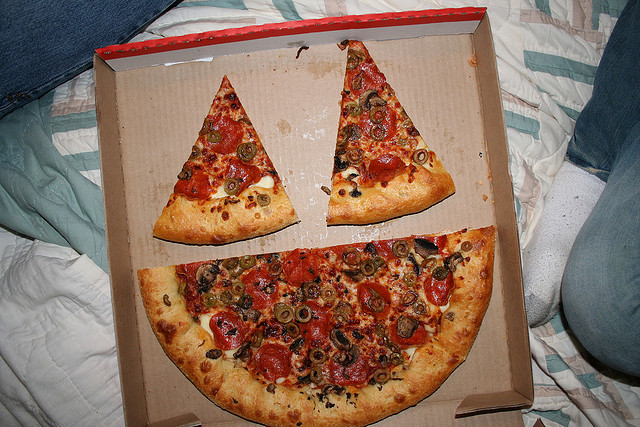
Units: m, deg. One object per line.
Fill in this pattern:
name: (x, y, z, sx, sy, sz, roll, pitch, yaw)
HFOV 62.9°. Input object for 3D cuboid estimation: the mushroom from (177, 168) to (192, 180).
mushroom: (-1.190, -0.351, 4.663, 0.096, 0.029, 0.106, 3, 80, 14)

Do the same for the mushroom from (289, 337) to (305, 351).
mushroom: (-0.194, 1.139, 4.576, 0.123, 0.037, 0.072, -25, 94, -6)

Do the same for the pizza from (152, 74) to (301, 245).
pizza: (-0.791, -0.422, 4.677, 1.196, 0.240, 1.455, -1, 87, 1)

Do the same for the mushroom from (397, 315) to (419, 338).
mushroom: (0.751, 0.983, 4.543, 0.183, 0.045, 0.174, 16, 79, 8)

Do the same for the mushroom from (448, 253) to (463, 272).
mushroom: (1.156, 0.411, 4.496, 0.099, 0.050, 0.156, 32, 95, 2)

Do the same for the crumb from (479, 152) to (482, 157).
crumb: (1.434, -0.527, 4.691, 0.035, 0.009, 0.037, -2, 86, -8)

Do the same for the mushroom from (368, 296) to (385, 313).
mushroom: (0.488, 0.785, 4.551, 0.145, 0.034, 0.121, 15, 79, 8)

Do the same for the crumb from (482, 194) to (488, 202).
crumb: (1.465, -0.142, 4.667, 0.048, 0.013, 0.058, -24, 83, 1)

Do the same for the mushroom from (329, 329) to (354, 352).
mushroom: (0.177, 1.093, 4.520, 0.126, 0.054, 0.225, -43, 84, -3)
